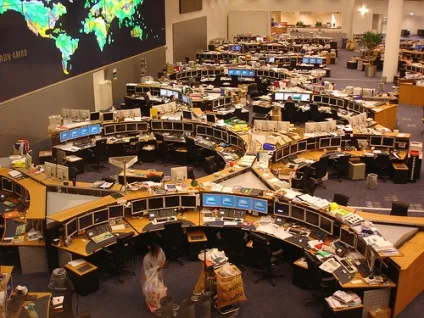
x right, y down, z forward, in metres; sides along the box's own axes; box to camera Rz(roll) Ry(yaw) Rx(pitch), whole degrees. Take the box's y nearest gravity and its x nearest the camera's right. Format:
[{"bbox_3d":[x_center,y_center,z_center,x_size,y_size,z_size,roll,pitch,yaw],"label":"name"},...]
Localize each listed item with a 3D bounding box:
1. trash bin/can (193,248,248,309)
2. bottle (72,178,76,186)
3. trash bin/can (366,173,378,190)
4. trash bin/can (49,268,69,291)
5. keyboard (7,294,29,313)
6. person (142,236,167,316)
[{"bbox_3d":[0.200,2.773,7.792,1.245,1.002,1.194,-12,27,-23],"label":"trash bin/can"},{"bbox_3d":[-4.187,0.698,10.355,0.138,0.286,0.128,2,13,0],"label":"bottle"},{"bbox_3d":[5.878,0.836,12.468,0.397,0.504,0.439,-5,17,-11],"label":"trash bin/can"},{"bbox_3d":[-3.715,2.866,8.193,0.373,0.452,0.536,-18,24,-42],"label":"trash bin/can"},{"bbox_3d":[-3.891,2.889,6.788,0.274,0.064,0.249,6,36,-1],"label":"keyboard"},{"bbox_3d":[-1.270,2.595,7.571,0.587,1.577,0.529,13,24,36],"label":"person"}]
